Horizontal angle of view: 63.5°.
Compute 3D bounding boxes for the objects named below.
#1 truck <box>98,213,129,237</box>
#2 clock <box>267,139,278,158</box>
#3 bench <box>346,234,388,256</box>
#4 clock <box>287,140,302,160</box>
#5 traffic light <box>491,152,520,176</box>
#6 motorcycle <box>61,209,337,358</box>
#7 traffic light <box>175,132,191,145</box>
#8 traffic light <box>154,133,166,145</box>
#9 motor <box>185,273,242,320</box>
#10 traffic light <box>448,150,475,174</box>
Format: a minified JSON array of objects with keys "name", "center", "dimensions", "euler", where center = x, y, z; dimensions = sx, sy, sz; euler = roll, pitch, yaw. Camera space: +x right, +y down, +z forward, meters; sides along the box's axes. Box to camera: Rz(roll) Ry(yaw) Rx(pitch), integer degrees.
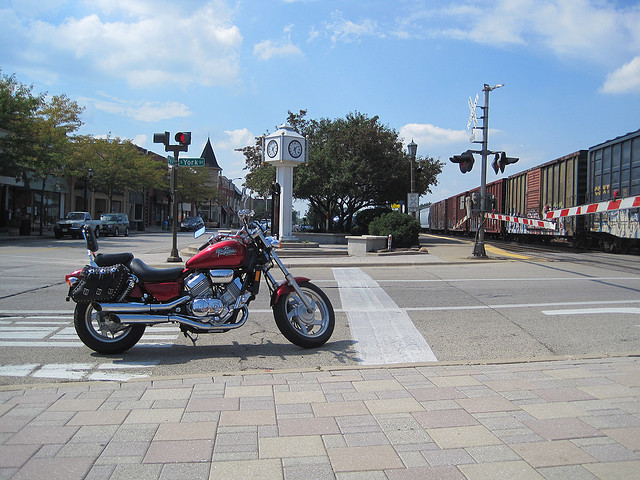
[{"name":"truck","center":[-15.235,-1.164,37.611],"dimensions":[1.268,1.155,2.538],"euler":[0,-2,0]},{"name":"clock","center":[-2.105,-4.101,23.118],"dimensions":[0.109,0.758,0.718],"euler":[-5,6,-39]},{"name":"bench","center":[2.076,0.150,21.083],"dimensions":[1.040,0.659,1.053],"euler":[-3,5,-36]},{"name":"clock","center":[-1.101,-4.051,22.986],"dimensions":[0.642,0.809,0.208],"euler":[-2,5,-13]},{"name":"traffic light","center":[6.353,-2.672,17.775],"dimensions":[0.673,0.772,1.720],"euler":[1,5,21]},{"name":"motorcycle","center":[-1.353,0.582,6.293],"dimensions":[3.052,1.585,1.206],"euler":[-1,-6,-13]},{"name":"traffic light","center":[-4.247,-3.166,15.939],"dimensions":[0.451,0.445,1.366],"euler":[-2,5,-16]},{"name":"traffic light","center":[-5.087,-3.215,16.404],"dimensions":[0.352,0.300,0.136],"euler":[-3,5,-22]},{"name":"motor","center":[-1.213,0.643,5.923],"dimensions":[0.619,0.421,0.408],"euler":[0,-7,-12]},{"name":"traffic light","center":[5.155,-2.812,18.436],"dimensions":[0.674,0.749,0.299],"euler":[3,6,35]}]
